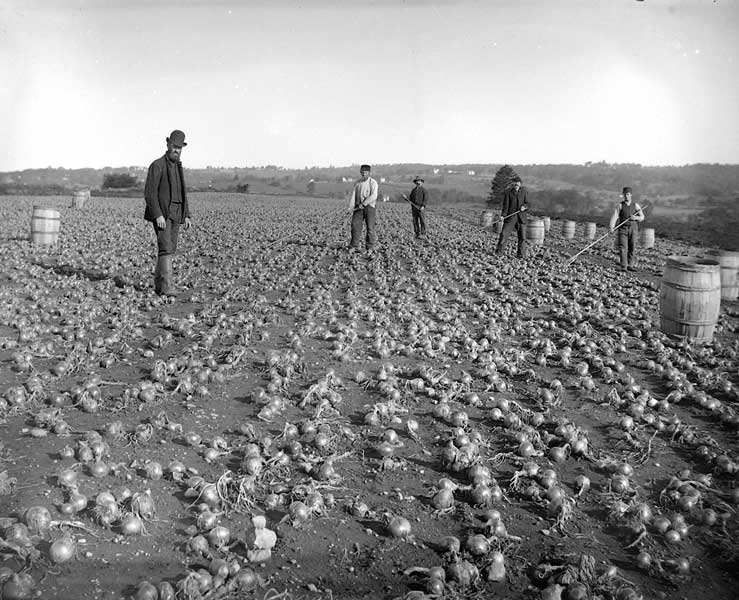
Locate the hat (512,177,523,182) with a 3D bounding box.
[{"bbox_3d":[4.228,-3.453,16.380,0.230,0.146,0.364,5,14,15],"label":"hat"}]

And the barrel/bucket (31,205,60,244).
[{"bbox_3d":[-9.419,-2.151,16.495,0.659,1.070,0.726,4,9,-21],"label":"barrel/bucket"}]

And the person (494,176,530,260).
[{"bbox_3d":[4.296,-2.460,16.921,0.799,2.360,0.646,2,30,14],"label":"person"}]
